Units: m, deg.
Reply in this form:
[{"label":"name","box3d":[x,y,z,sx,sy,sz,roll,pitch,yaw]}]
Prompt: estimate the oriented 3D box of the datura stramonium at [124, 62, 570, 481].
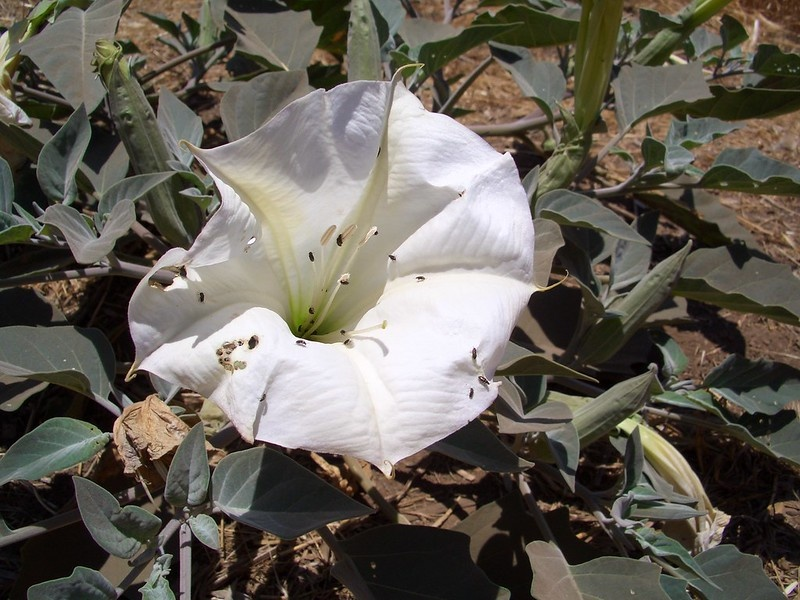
[{"label":"datura stramonium","box3d":[-0.107,-0.107,1.898,0.825,0.782,0.958,12,39,22]}]
